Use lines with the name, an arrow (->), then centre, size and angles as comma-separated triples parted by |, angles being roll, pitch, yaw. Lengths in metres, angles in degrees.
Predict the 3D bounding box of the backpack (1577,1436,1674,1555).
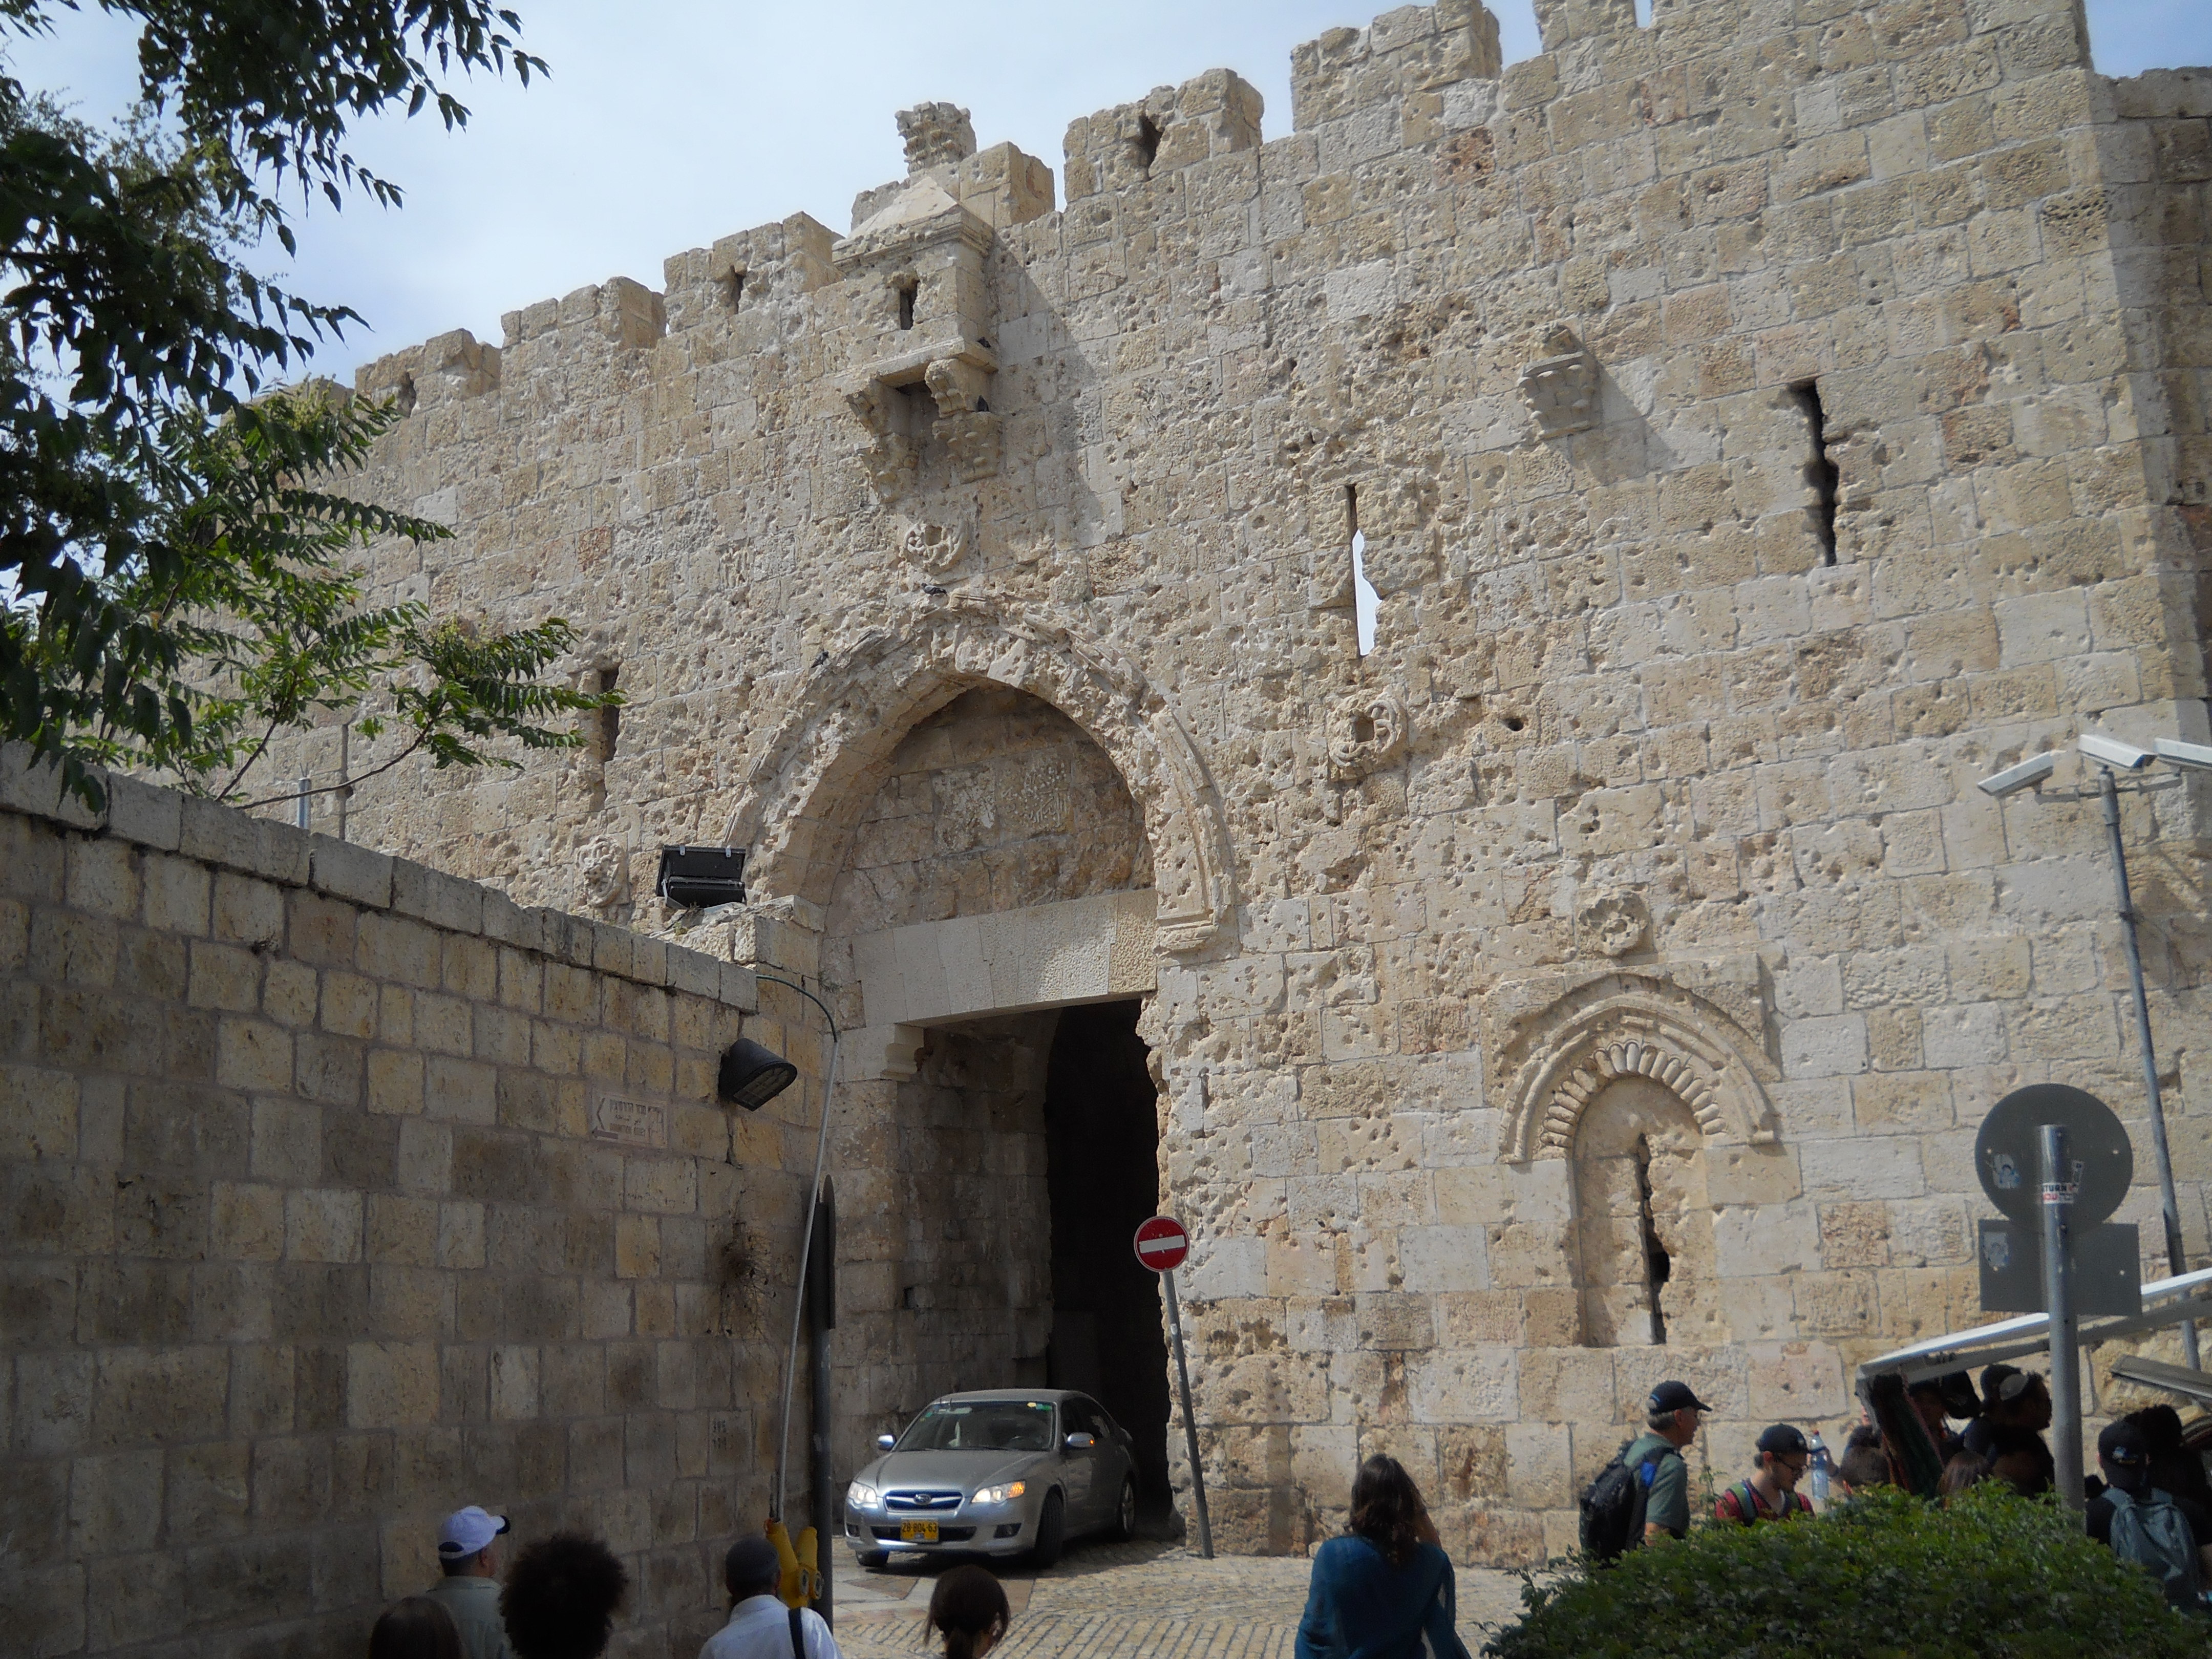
backpack -> 2.013, 2.636, 9.490 | 0.439, 0.486, 0.327 | 7, -9, 9

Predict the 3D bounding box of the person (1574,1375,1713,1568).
person -> 2.139, 2.645, 9.451 | 0.431, 0.884, 0.472 | 0, 10, -43

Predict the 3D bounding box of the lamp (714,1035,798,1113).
lamp -> -1.780, 1.268, 12.525 | 0.316, 0.399, 0.512 | -9, -22, 19

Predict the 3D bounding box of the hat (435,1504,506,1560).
hat -> -2.358, 2.617, 8.987 | 0.179, 0.119, 0.296 | 2, 2, 12

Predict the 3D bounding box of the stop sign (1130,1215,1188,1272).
stop sign -> 0.362, 2.582, 14.967 | 0.282, 0.399, 0.440 | -5, -21, 8

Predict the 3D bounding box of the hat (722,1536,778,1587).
hat -> -1.257, 2.589, 8.415 | 0.141, 0.168, 0.175 | 0, -1, 2

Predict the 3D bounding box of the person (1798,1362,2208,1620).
person -> 3.920, 2.660, 9.817 | 1.047, 1.163, 1.928 | 2, -22, -11

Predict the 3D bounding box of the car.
car -> -0.664, 4.165, 15.513 | 1.084, 1.221, 1.967 | -17, -26, 35
